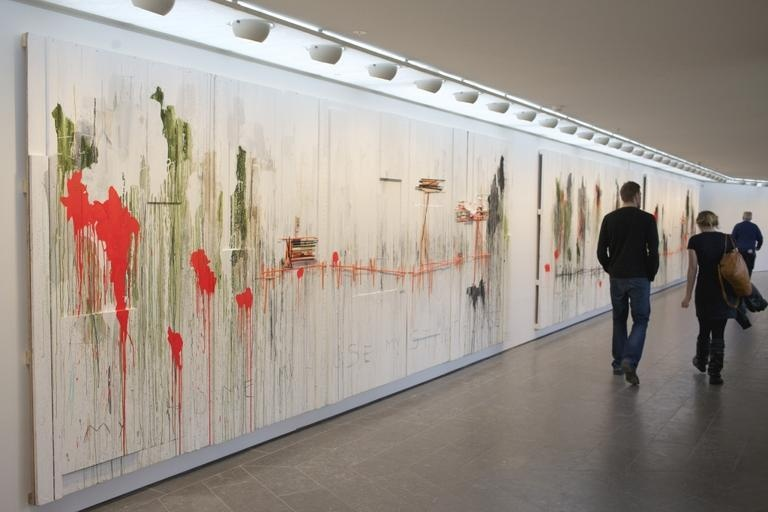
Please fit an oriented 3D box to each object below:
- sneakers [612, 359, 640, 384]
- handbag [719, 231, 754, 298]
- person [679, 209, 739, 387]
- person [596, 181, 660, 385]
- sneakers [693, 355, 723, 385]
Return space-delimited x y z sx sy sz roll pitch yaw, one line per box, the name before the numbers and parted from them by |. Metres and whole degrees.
sneakers | 2.889 1.374 6.598 0.128 0.289 0.098 -15 -5 -45
handbag | 4.781 0.102 7.468 0.312 0.868 0.752 -11 17 29
person | 3.923 0.489 6.708 0.497 2.017 0.699 5 10 29
person | 2.853 0.476 6.586 0.656 2.073 0.655 4 10 28
sneakers | 3.955 1.399 6.758 0.139 0.492 0.198 -20 -8 26
